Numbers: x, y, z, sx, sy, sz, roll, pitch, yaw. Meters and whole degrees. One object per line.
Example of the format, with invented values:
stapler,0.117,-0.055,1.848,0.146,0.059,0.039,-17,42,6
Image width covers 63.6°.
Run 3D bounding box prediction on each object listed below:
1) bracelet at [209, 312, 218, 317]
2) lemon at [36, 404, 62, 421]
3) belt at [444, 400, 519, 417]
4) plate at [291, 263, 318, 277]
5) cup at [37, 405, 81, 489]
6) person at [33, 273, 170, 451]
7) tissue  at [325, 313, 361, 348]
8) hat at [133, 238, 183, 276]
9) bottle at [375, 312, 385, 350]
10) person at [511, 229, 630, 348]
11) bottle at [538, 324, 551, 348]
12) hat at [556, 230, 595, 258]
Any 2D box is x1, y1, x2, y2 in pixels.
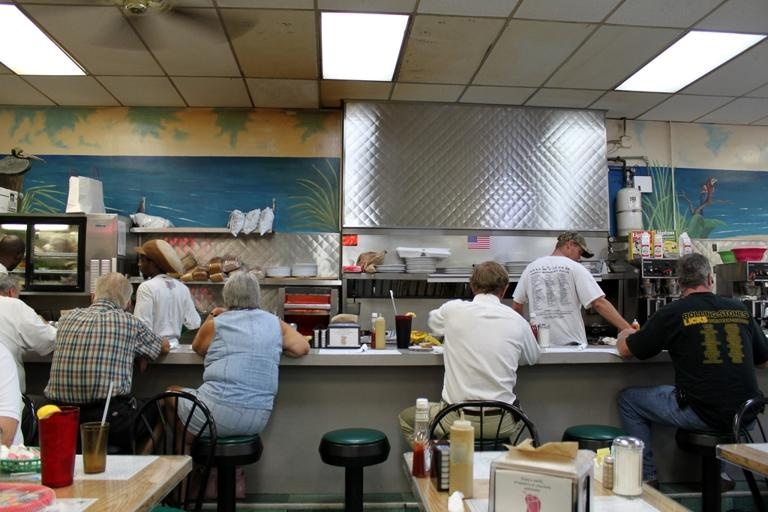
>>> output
bracelet,-1.355,0.464,4.898,0.059,0.023,0.064,0,-1,-8
lemon,-1.807,0.844,3.319,0.097,0.034,0.093,-8,-5,14
belt,0.662,1.039,4.202,0.275,0.052,0.260,1,-5,-2
plate,-0.931,0.171,7.239,0.169,0.106,0.221,1,-1,-30
cup,-1.761,1.039,3.349,0.179,0.424,0.151,1,-5,-26
person,-2.036,0.799,4.554,0.798,1.351,0.327,1,-5,-27
tissue ,-0.349,0.647,5.343,0.283,0.254,0.262,1,1,1
hat,-2.036,0.003,5.622,0.388,0.327,0.268,1,-5,-30
bottle,-0.039,0.656,5.246,0.069,0.268,0.090,0,-5,-19
person,1.837,0.333,6.162,1.184,1.222,0.437,6,14,41
bottle,1.335,0.681,5.211,0.073,0.184,0.124,-4,-5,21
hat,1.829,-0.098,5.998,0.407,0.198,0.249,9,-1,1
